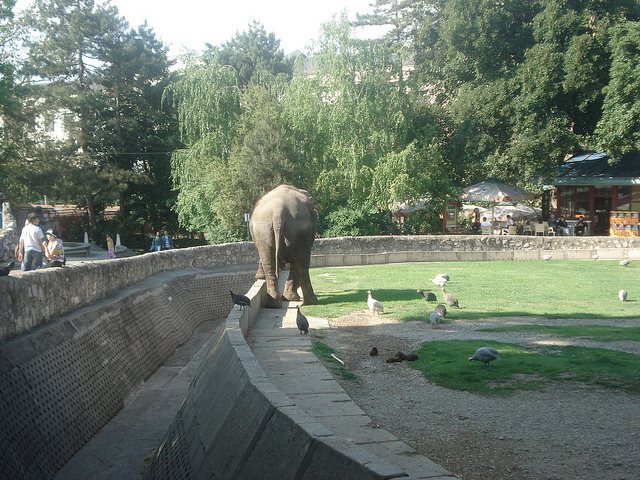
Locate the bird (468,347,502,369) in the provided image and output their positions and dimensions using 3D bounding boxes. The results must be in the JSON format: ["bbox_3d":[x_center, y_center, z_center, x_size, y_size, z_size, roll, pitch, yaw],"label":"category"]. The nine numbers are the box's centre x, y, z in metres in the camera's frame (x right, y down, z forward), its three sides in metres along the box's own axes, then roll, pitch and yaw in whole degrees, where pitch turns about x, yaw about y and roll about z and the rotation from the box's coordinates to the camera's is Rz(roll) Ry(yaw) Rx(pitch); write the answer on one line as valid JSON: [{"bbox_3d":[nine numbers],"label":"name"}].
[{"bbox_3d":[3.466,2.449,12.407,0.589,0.393,0.299,-6,-7,13],"label":"bird"}]

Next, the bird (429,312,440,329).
[{"bbox_3d":[3.016,2.113,15.587,0.230,0.384,0.373,1,8,9],"label":"bird"}]

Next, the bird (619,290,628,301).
[{"bbox_3d":[9.262,1.701,18.240,0.223,0.259,0.308,3,10,15],"label":"bird"}]

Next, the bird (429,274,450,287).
[{"bbox_3d":[4.305,1.447,21.353,0.322,0.436,0.783,-3,8,-19],"label":"bird"}]

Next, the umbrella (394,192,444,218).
[{"bbox_3d":[6.372,-2.270,39.180,2.177,1.871,3.990,-2,8,-12],"label":"umbrella"}]

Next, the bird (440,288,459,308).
[{"bbox_3d":[3.845,1.834,17.412,0.367,0.484,0.857,1,8,10],"label":"bird"}]

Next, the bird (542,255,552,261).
[{"bbox_3d":[11.669,0.917,30.548,0.391,0.275,0.367,3,8,21],"label":"bird"}]

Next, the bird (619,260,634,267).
[{"bbox_3d":[13.882,1.072,26.934,0.621,0.279,0.191,-10,-1,6],"label":"bird"}]

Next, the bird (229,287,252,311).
[{"bbox_3d":[-1.864,1.553,15.182,0.728,0.513,0.335,9,-8,-32],"label":"bird"}]

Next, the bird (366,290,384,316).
[{"bbox_3d":[1.632,1.893,17.255,0.436,0.567,1.094,1,8,7],"label":"bird"}]

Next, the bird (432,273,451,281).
[{"bbox_3d":[4.334,1.322,21.223,0.413,0.159,0.423,-5,-1,42],"label":"bird"}]

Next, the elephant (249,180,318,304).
[{"bbox_3d":[-1.077,0.209,18.806,1.488,3.753,2.077,6,10,40],"label":"elephant"}]

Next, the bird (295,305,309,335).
[{"bbox_3d":[-0.437,2.099,14.965,0.310,0.581,0.590,-1,8,-3],"label":"bird"}]

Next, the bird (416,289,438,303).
[{"bbox_3d":[3.439,1.804,18.800,0.547,0.439,0.691,1,8,11],"label":"bird"}]
